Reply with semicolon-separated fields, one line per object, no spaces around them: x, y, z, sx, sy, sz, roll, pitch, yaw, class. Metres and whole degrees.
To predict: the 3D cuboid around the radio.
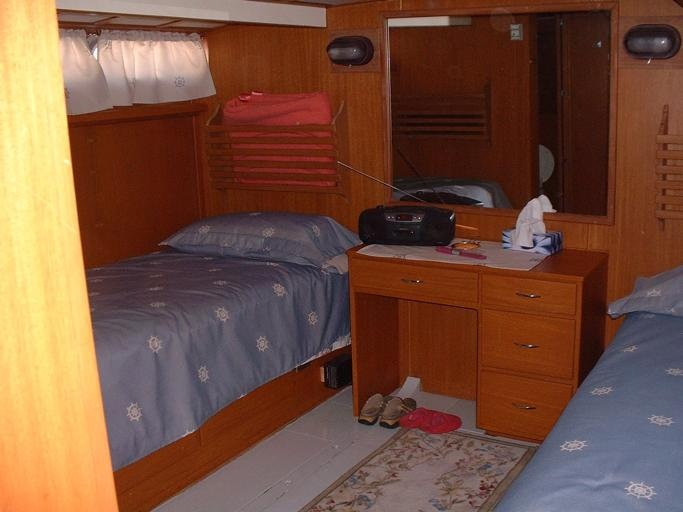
0.376;-0.166;3.176;0.562;0.175;0.241;3;14;20;radio

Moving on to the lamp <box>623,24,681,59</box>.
1.418;-1.004;2.708;0.354;0.144;0.231;2;10;10;lamp

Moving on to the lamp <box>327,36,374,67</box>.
0.049;-1.211;3.345;0.281;0.144;0.064;1;21;20;lamp

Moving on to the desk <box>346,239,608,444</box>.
0.683;0.417;2.849;1.338;0.742;0.591;3;8;27;desk

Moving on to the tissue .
0.970;-0.147;2.956;0.300;0.218;0.182;12;19;32;tissue 
